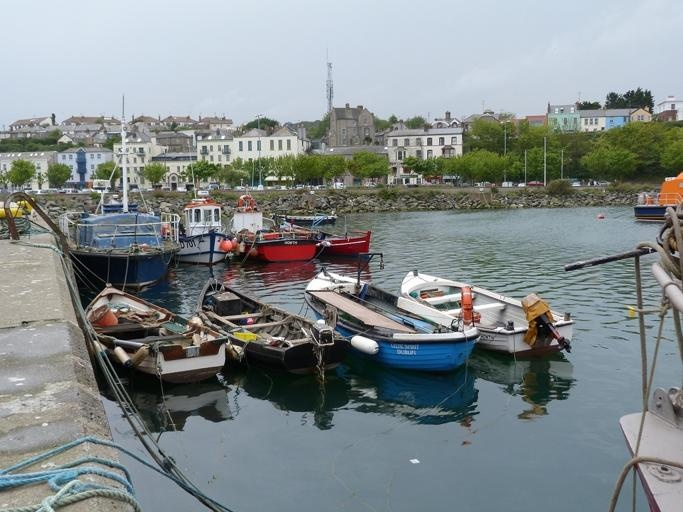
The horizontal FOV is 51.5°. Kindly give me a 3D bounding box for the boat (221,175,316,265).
[{"bbox_3d":[-3.601,-1.117,31.801,2.398,1.817,4.530,-5,9,-29],"label":"boat"}]

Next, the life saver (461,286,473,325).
[{"bbox_3d":[2.800,1.133,15.850,0.225,0.952,0.286,-1,6,28],"label":"life saver"}]

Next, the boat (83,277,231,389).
[{"bbox_3d":[-4.334,1.501,15.036,1.864,1.070,4.813,-8,13,-35],"label":"boat"}]

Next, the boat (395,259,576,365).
[{"bbox_3d":[3.199,1.269,16.464,1.698,0.930,4.663,-11,18,-29],"label":"boat"}]

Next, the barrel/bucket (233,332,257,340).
[{"bbox_3d":[-2.024,1.682,15.021,0.280,0.090,0.205,-1,7,-26],"label":"barrel/bucket"}]

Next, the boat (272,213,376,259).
[{"bbox_3d":[-1.281,-0.565,34.905,2.319,1.942,7.838,-5,13,-36],"label":"boat"}]
